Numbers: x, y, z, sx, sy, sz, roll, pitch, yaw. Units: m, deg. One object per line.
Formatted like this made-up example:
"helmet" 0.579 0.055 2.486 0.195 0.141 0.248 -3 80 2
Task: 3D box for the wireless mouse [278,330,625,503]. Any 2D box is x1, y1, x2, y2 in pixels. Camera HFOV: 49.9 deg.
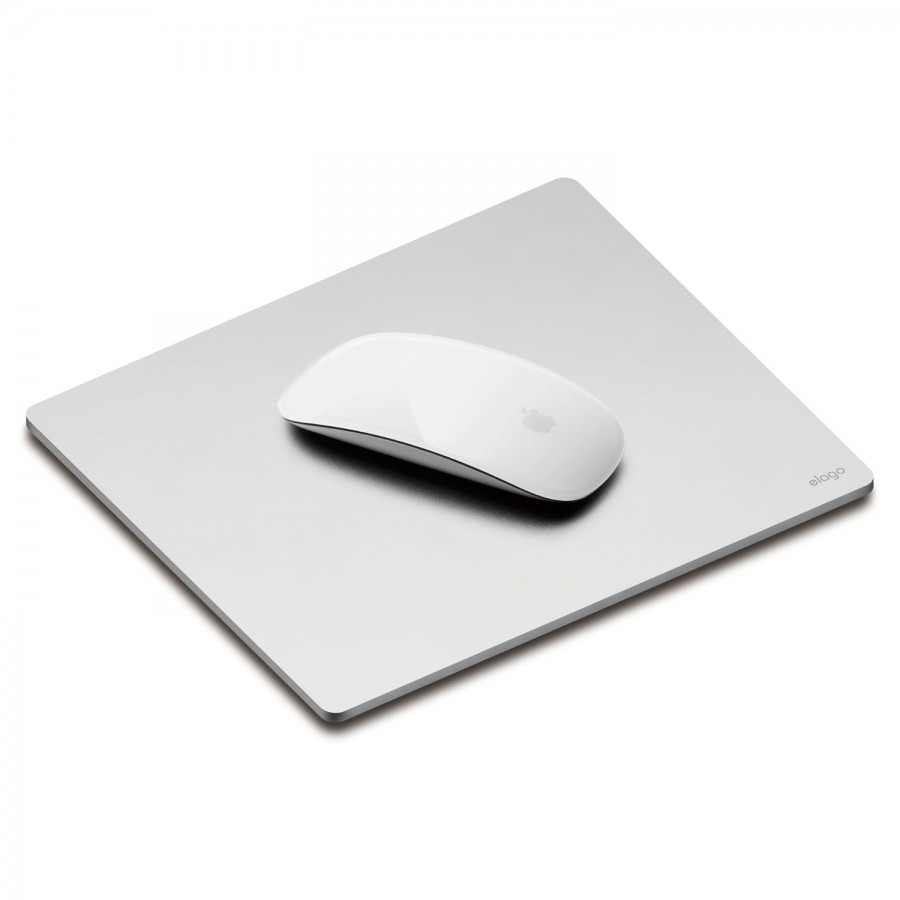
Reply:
"wireless mouse" -0.006 -0.016 1.050 0.349 0.071 0.158 16 46 15
